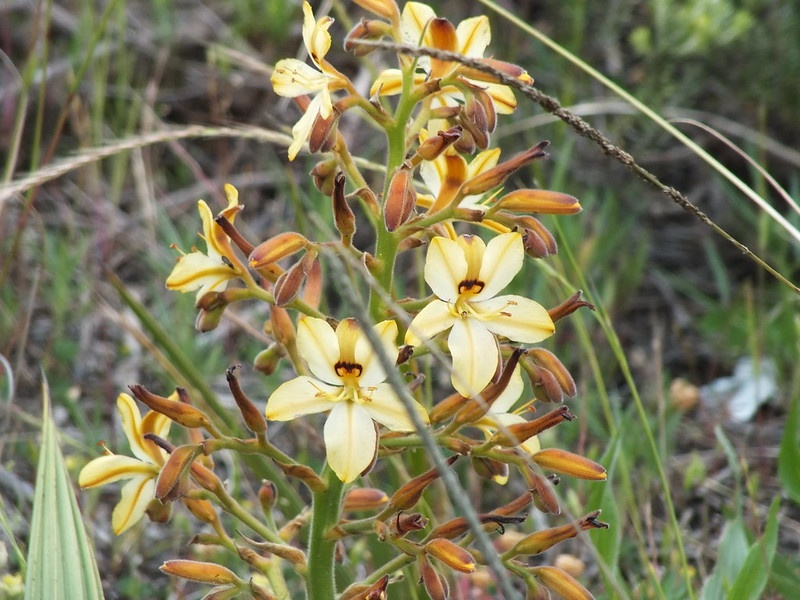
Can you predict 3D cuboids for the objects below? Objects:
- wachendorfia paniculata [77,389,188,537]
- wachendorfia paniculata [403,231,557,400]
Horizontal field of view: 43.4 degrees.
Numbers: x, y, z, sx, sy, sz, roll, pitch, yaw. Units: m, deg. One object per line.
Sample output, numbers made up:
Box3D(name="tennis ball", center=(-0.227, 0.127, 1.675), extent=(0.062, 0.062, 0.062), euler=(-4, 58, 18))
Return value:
Box3D(name="wachendorfia paniculata", center=(-1.096, 0.618, 4.219), extent=(0.526, 0.239, 0.536), euler=(-16, 38, -1))
Box3D(name="wachendorfia paniculata", center=(0.278, 0.012, 4.058), extent=(0.629, 0.274, 0.721), euler=(-20, 37, 27))
